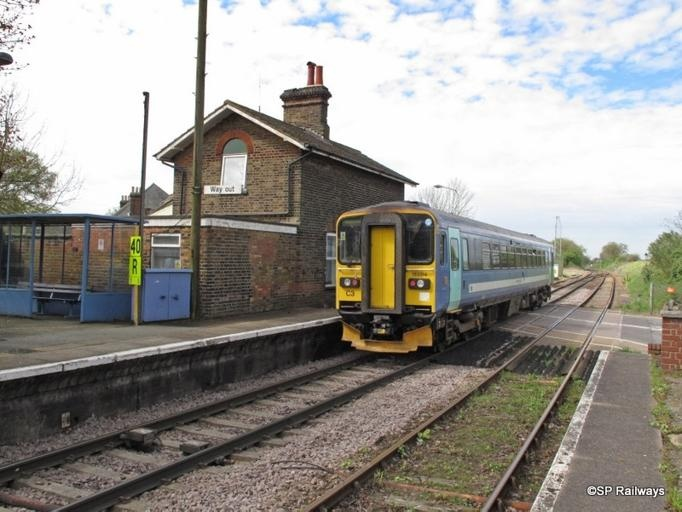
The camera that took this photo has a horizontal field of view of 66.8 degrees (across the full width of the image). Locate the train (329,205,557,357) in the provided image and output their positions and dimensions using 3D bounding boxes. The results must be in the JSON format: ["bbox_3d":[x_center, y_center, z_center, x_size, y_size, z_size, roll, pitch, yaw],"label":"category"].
[{"bbox_3d":[4.775,0.547,17.663,2.753,3.380,14.020,-2,-1,34],"label":"train"}]
